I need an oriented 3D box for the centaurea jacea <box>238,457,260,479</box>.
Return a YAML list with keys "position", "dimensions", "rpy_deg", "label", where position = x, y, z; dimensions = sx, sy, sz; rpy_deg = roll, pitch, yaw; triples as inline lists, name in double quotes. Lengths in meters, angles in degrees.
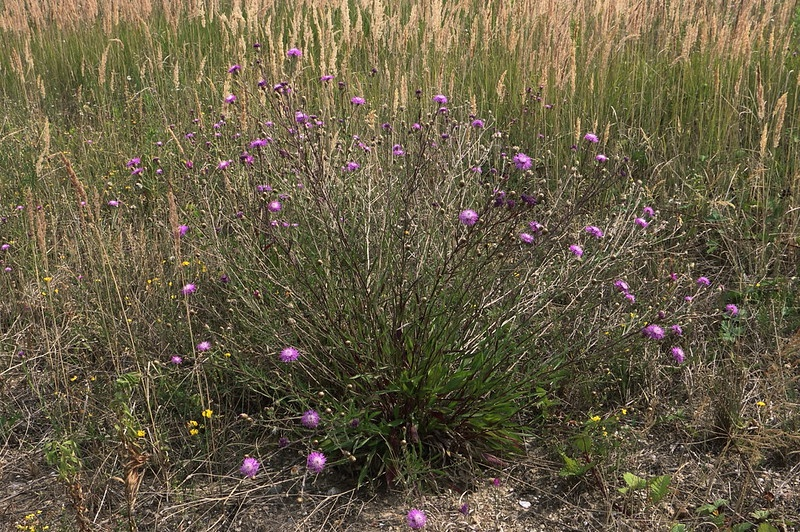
- position: [-0.862, 1.159, 3.733]
  dimensions: [0.107, 0.134, 0.044]
  rpy_deg: [2, -14, -4]
  label: "centaurea jacea"
